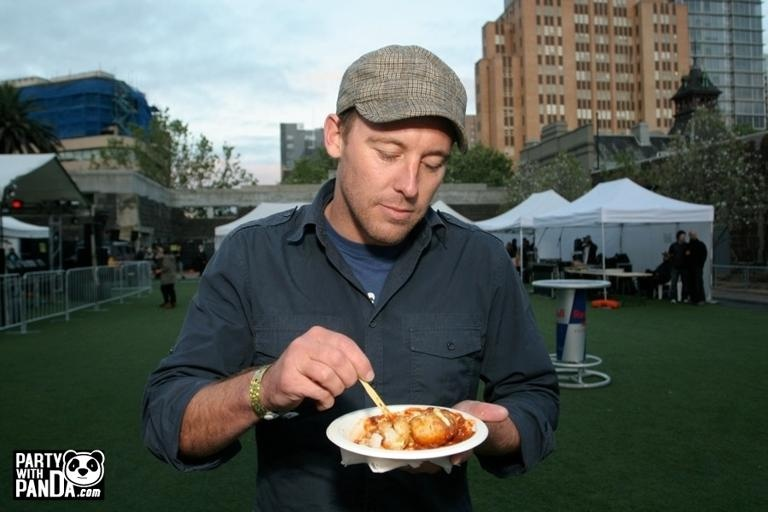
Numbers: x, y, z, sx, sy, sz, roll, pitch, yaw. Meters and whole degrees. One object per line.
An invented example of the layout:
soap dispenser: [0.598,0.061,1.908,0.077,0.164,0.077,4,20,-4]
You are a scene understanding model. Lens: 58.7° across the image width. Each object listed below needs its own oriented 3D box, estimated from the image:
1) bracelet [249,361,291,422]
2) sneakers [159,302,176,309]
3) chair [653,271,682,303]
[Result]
bracelet: [-1.147,1.326,6.670,0.147,0.481,0.436,-11,12,-12]
sneakers: [-6.965,1.581,21.912,0.500,0.262,0.210,2,-5,22]
chair: [9.311,0.968,22.180,0.843,1.185,0.817,11,-13,-44]
